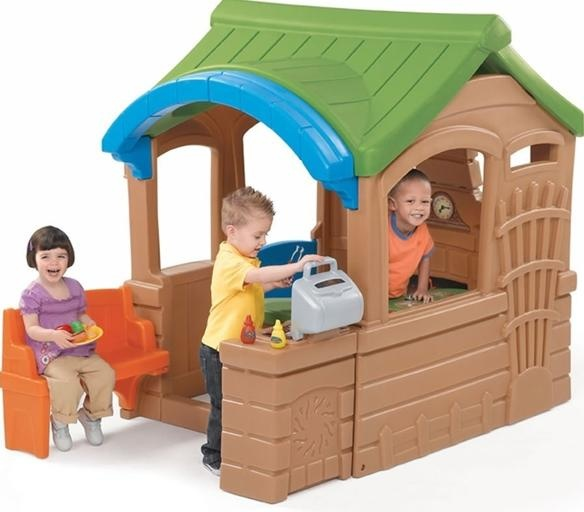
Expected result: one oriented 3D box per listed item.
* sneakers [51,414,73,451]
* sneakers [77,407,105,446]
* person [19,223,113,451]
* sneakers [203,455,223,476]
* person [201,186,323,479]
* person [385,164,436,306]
[{"bbox_3d":[-1.264,0.974,3.806,0.099,0.080,0.224,-7,29,-22],"label":"sneakers"},{"bbox_3d":[-1.107,0.934,3.900,0.117,0.240,0.095,-14,9,44],"label":"sneakers"},{"bbox_3d":[-1.212,0.450,3.722,0.408,1.219,0.357,-7,11,-36],"label":"person"},{"bbox_3d":[-0.406,1.055,3.491,0.146,0.056,0.055,17,21,40],"label":"sneakers"},{"bbox_3d":[-0.218,0.383,3.378,0.467,1.429,0.436,-2,9,-8],"label":"person"},{"bbox_3d":[0.659,-0.121,3.884,0.250,0.729,0.289,1,9,10],"label":"person"}]
